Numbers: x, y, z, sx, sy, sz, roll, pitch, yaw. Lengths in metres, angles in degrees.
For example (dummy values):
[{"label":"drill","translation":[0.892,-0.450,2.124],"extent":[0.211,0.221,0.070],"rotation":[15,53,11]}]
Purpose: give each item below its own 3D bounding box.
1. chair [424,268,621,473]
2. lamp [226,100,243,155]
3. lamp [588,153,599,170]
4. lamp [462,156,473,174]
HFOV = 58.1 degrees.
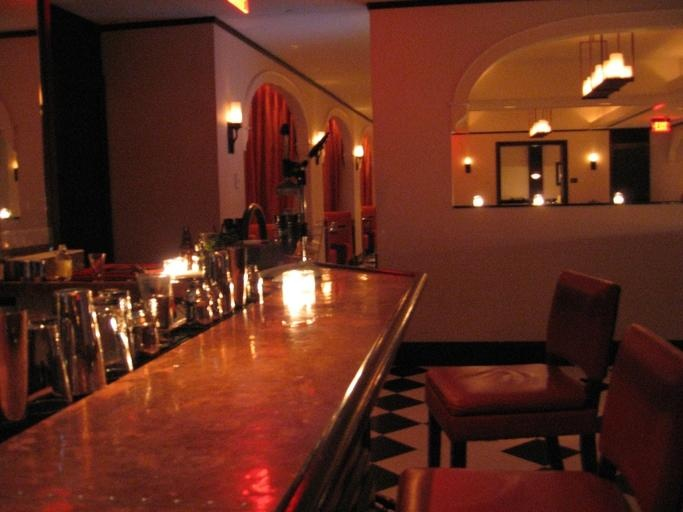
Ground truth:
[{"label":"chair","translation":[0.758,0.390,2.870],"extent":[0.796,1.153,0.756],"rotation":[1,3,-3]},{"label":"lamp","translation":[-1.046,-1.230,6.001],"extent":[0.147,0.486,0.267],"rotation":[-4,7,-6]},{"label":"lamp","translation":[2.699,-1.007,6.575],"extent":[0.131,0.199,0.119],"rotation":[-2,7,10]},{"label":"lamp","translation":[1.030,-0.734,4.992],"extent":[0.048,0.135,0.190],"rotation":[1,8,28]}]
